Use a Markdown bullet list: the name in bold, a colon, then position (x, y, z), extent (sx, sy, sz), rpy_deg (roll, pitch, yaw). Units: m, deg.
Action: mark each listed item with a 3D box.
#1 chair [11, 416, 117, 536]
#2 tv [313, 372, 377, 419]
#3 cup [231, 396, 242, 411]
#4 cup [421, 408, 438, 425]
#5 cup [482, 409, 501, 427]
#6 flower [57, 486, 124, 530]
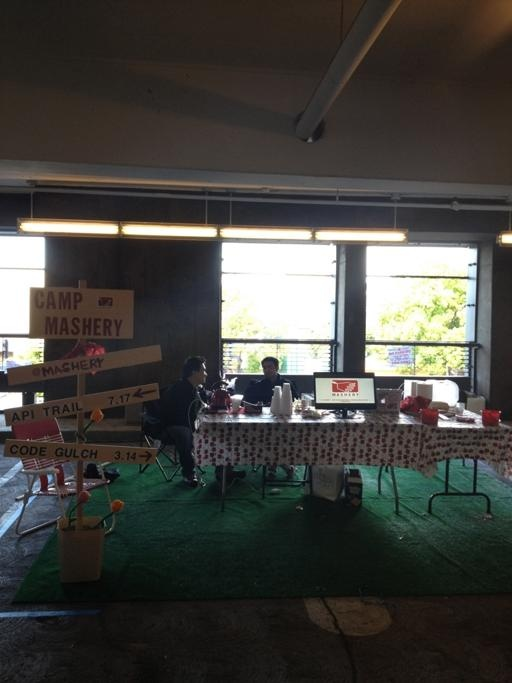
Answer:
- **chair**: position (-1.378, 0.995, 4.286), extent (0.731, 0.800, 0.684), rpy_deg (-7, 2, -36)
- **tv**: position (0.691, 0.423, 4.517), extent (0.354, 0.233, 0.089), rpy_deg (1, -22, -2)
- **cup**: position (-0.153, 0.473, 4.463), extent (0.110, 0.122, 0.108), rpy_deg (-1, 3, 0)
- **cup**: position (1.279, 0.555, 4.275), extent (0.118, 0.081, 0.107), rpy_deg (-1, 2, -14)
- **cup**: position (1.729, 0.560, 4.257), extent (0.141, 0.097, 0.137), rpy_deg (0, 4, 0)
- **flower**: position (-0.930, 0.977, 3.269), extent (0.308, 0.297, 0.117), rpy_deg (17, 17, -30)
